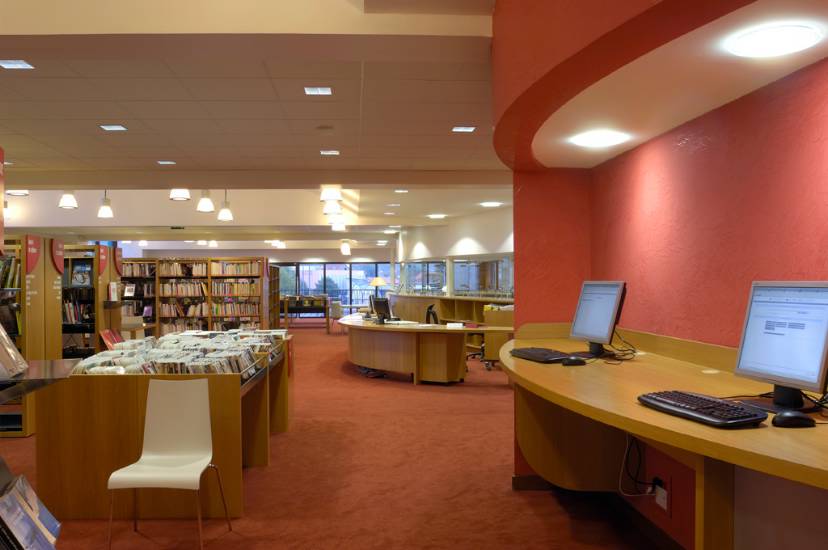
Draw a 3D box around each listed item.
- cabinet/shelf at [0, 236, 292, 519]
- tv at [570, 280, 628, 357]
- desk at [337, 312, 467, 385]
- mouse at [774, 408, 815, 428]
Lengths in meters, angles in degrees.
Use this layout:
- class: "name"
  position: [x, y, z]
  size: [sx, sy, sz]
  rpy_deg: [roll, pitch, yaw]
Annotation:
- class: "cabinet/shelf"
  position: [-2.267, 1.233, 5.354]
  size: [1.589, 0.983, 2.372]
  rpy_deg: [0, 2, -3]
- class: "tv"
  position: [1.446, 0.339, 4.633]
  size: [0.247, 0.616, 0.659]
  rpy_deg: [-1, 0, -9]
- class: "desk"
  position: [-0.110, 1.284, 9.560]
  size: [2.232, 1.025, 0.711]
  rpy_deg: [2, 14, 38]
- class: "mouse"
  position: [2.000, 0.756, 3.073]
  size: [0.172, 0.059, 0.097]
  rpy_deg: [-6, 1, 1]
